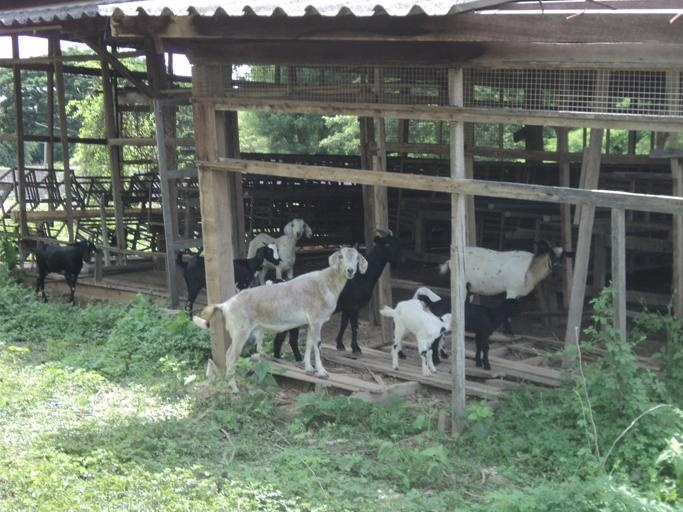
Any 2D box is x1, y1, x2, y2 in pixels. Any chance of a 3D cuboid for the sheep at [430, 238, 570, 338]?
[{"bbox_3d":[2.427,0.245,11.382,1.763,0.795,1.144,1,13,20],"label":"sheep"}]
